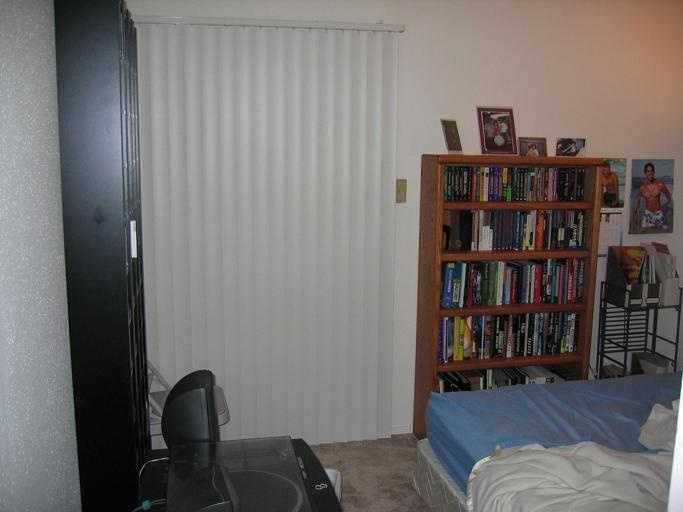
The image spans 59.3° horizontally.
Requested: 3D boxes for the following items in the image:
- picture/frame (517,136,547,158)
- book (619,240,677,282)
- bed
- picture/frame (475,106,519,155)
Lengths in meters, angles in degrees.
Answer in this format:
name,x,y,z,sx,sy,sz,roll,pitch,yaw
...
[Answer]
name,x,y,z,sx,sy,sz,roll,pitch,yaw
picture/frame,1.304,-0.759,4.118,0.196,0.169,0.015,3,-7,-22
book,2.111,0.038,4.117,0.366,0.239,0.218,2,11,18
bed,0.993,0.904,2.880,1.051,0.263,1.057,-2,7,-8
picture/frame,1.043,-0.864,4.065,0.343,0.390,0.026,-4,4,-9
